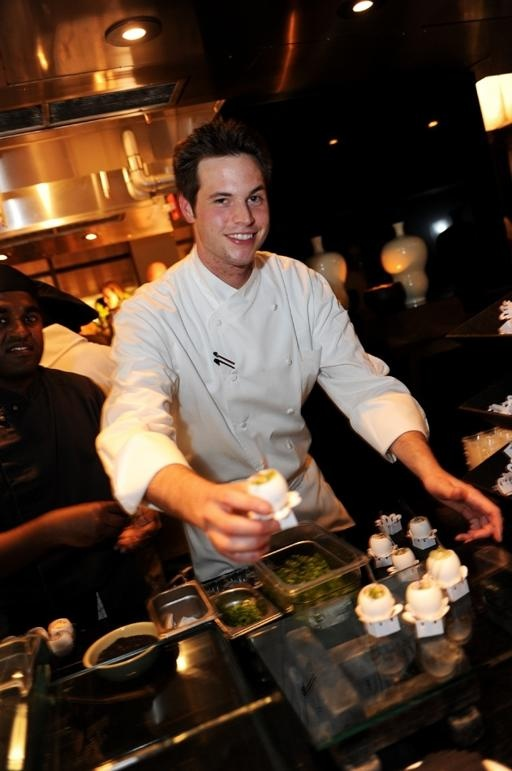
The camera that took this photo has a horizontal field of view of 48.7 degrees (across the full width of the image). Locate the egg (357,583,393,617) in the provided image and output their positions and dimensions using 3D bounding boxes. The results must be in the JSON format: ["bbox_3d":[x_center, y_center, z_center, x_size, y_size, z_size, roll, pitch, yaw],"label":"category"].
[{"bbox_3d":[0.166,0.300,0.791,0.042,0.046,0.041,-1,-8,2],"label":"egg"}]

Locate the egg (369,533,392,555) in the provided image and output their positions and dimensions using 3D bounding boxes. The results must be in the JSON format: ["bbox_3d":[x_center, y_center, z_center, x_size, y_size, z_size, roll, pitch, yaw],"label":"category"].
[{"bbox_3d":[0.234,0.299,1.061,0.038,0.033,0.036,4,-13,-20],"label":"egg"}]

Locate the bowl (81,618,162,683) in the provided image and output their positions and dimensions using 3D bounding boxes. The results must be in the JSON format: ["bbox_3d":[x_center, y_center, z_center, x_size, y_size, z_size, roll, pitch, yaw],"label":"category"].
[{"bbox_3d":[-0.204,0.417,0.890,0.103,0.038,0.100,-13,-4,-1],"label":"bowl"}]

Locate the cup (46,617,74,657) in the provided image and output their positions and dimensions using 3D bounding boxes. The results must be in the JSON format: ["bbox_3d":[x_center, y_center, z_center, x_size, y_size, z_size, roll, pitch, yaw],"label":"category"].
[{"bbox_3d":[-0.378,0.480,1.079,0.053,0.029,0.070,15,18,-35],"label":"cup"}]

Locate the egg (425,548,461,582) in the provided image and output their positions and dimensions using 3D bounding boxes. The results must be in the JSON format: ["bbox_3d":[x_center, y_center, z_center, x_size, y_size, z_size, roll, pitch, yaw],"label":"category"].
[{"bbox_3d":[0.279,0.266,0.839,0.041,0.037,0.040,-5,-3,12],"label":"egg"}]

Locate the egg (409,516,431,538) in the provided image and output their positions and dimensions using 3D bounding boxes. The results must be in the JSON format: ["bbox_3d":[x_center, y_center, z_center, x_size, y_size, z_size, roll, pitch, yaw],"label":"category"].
[{"bbox_3d":[0.309,0.270,1.066,0.040,0.031,0.039,-4,3,-2],"label":"egg"}]

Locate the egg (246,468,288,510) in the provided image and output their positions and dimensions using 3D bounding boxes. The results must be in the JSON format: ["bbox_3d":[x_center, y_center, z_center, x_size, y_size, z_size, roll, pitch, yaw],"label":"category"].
[{"bbox_3d":[0.019,0.133,0.673,0.043,0.041,0.043,-35,7,24],"label":"egg"}]

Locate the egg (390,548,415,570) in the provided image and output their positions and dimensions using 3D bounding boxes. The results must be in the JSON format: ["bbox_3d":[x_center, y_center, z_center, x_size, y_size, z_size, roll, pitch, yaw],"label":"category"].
[{"bbox_3d":[0.260,0.305,0.994,0.036,0.029,0.035,-3,7,8],"label":"egg"}]

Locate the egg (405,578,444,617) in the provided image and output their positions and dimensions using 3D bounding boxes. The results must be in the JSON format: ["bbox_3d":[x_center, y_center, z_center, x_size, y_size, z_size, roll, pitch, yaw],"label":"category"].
[{"bbox_3d":[0.231,0.290,0.773,0.044,0.045,0.039,3,-12,-21],"label":"egg"}]
